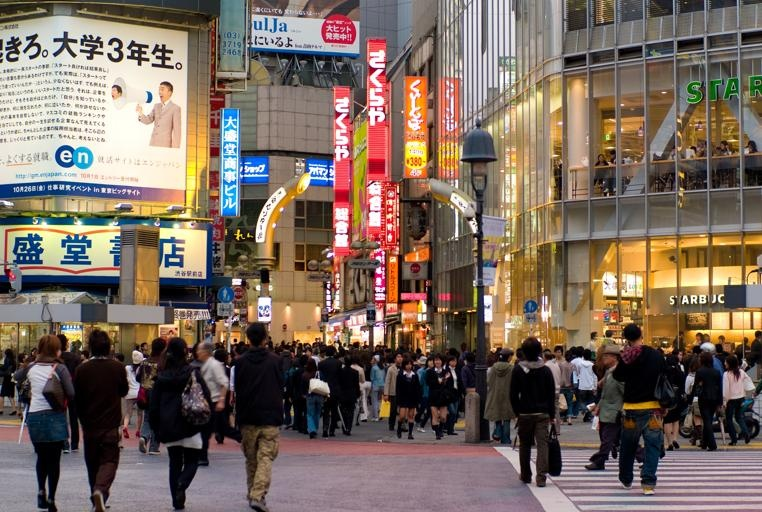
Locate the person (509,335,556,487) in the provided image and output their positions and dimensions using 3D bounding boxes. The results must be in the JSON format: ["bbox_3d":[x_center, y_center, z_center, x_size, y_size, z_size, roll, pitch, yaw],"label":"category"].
[{"bbox_3d":[3.257,3.351,25.752,0.927,3.191,0.587,1,-4,5],"label":"person"}]

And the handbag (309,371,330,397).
[{"bbox_3d":[-1.734,3.687,34.042,0.599,0.609,0.232,12,-24,-35],"label":"handbag"}]

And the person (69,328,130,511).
[{"bbox_3d":[-5.601,3.232,23.565,0.913,3.552,1.052,0,-5,12],"label":"person"}]

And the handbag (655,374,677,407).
[{"bbox_3d":[5.937,2.809,24.773,0.269,0.693,0.482,-4,-6,45],"label":"handbag"}]

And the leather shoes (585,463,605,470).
[{"bbox_3d":[4.969,4.910,27.808,0.452,0.198,0.169,5,-4,3],"label":"leather shoes"}]

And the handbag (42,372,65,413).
[{"bbox_3d":[-6.487,2.708,23.639,0.200,0.545,0.571,-10,-44,8],"label":"handbag"}]

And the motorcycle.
[{"bbox_3d":[9.434,4.363,32.840,2.399,1.676,1.277,1,-7,12],"label":"motorcycle"}]

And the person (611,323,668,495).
[{"bbox_3d":[5.431,3.184,24.972,1.024,3.485,0.765,-1,-5,26],"label":"person"}]

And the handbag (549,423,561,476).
[{"bbox_3d":[3.734,4.198,25.708,0.240,1.116,0.790,0,-5,11],"label":"handbag"}]

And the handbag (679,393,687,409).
[{"bbox_3d":[7.961,3.851,31.489,0.138,0.450,0.335,11,7,21],"label":"handbag"}]

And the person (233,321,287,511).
[{"bbox_3d":[-2.388,3.164,23.676,0.907,3.690,1.045,3,-5,-28],"label":"person"}]

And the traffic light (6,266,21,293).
[{"bbox_3d":[-15.266,0.962,49.629,0.489,1.229,3.794,2,-5,-19],"label":"traffic light"}]

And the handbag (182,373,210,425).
[{"bbox_3d":[-3.653,2.834,23.476,0.381,0.872,0.852,-2,-10,-15],"label":"handbag"}]

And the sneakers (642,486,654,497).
[{"bbox_3d":[5.555,4.851,24.790,0.258,0.201,0.341,0,-5,12],"label":"sneakers"}]
